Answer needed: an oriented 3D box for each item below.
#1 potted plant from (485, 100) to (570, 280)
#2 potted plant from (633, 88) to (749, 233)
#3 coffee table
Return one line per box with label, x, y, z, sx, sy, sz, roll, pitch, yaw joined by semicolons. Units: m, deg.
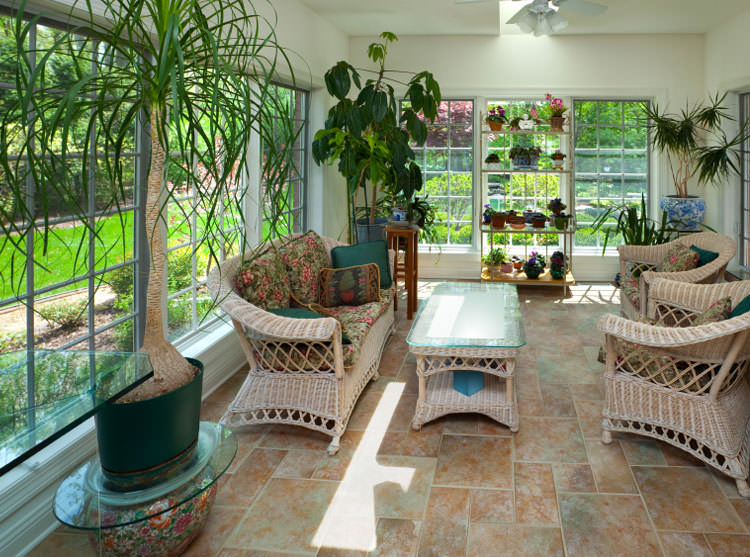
potted plant;1.888;-1.145;6.642;1.181;2.154;1.093;3;15;15
potted plant;3.760;-1.455;6.302;1.164;1.347;1.207;-9;11;-22
coffee table;0.611;0.492;3.538;0.671;0.466;1.527;-1;14;11
